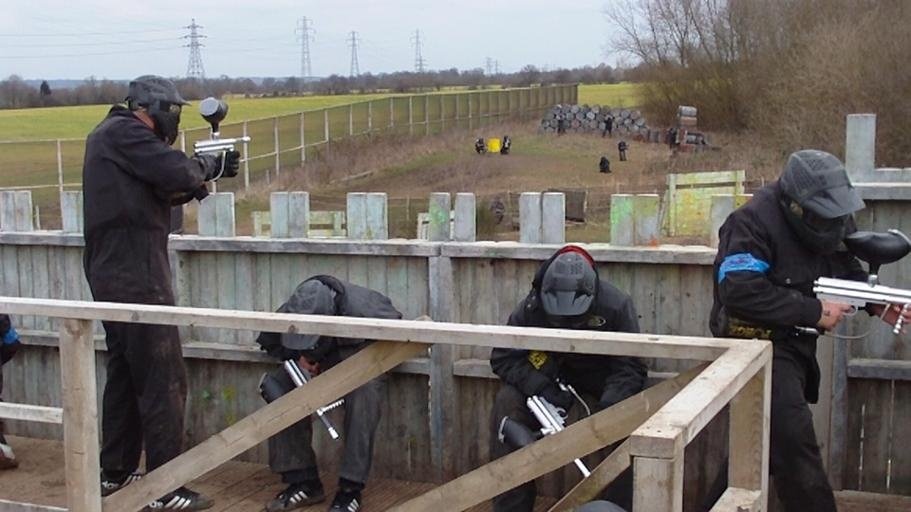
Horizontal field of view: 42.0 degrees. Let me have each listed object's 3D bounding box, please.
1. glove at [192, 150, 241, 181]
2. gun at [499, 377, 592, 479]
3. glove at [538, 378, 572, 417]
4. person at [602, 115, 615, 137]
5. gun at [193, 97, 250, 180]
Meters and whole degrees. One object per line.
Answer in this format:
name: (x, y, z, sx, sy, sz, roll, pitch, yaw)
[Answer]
glove: (-3.110, -1.166, 15.489, 0.442, 0.183, 0.449, 1, 18, -10)
gun: (1.053, 2.059, 14.557, 0.616, 1.194, 0.239, -38, -8, -42)
glove: (1.222, 1.762, 15.023, 0.395, 0.089, 0.474, 41, 16, -11)
person: (5.884, -5.046, 45.993, 0.441, 0.780, 1.175, -3, 7, 7)
gun: (-3.115, -1.580, 15.905, 0.310, 1.101, 1.185, 3, 10, 28)
